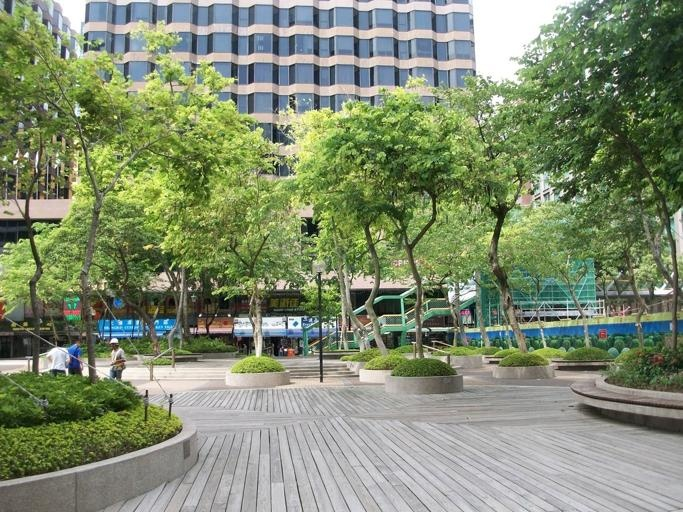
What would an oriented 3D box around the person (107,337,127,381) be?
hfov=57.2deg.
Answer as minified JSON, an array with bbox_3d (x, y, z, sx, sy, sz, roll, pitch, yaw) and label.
[{"bbox_3d":[-8.645,4.169,23.905,0.805,2.033,0.612,10,12,39],"label":"person"}]

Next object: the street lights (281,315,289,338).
[{"bbox_3d":[-5.570,6.907,61.485,0.551,1.804,0.799,-3,-7,-4],"label":"street lights"}]

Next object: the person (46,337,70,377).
[{"bbox_3d":[-9.811,3.640,21.724,0.740,1.865,0.604,2,33,-23],"label":"person"}]
